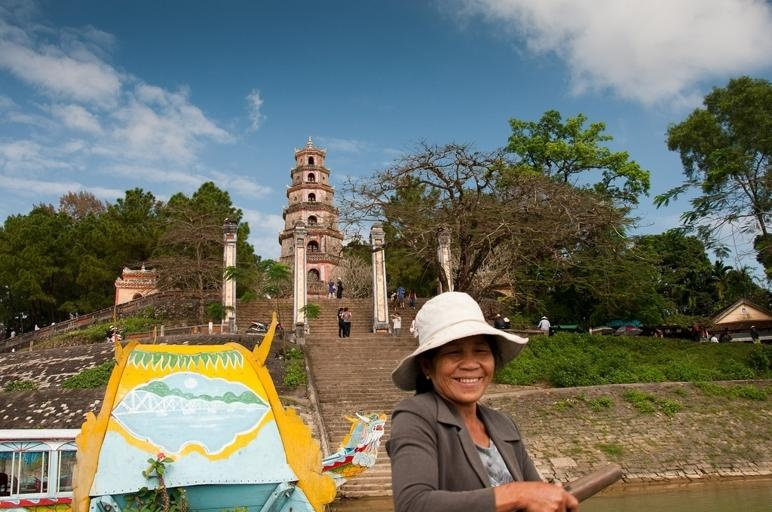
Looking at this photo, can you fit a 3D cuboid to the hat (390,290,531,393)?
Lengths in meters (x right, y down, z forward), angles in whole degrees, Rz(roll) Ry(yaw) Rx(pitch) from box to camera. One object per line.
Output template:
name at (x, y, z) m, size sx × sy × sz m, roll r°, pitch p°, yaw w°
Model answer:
hat at (0.697, 0.704, 4.839) m, size 1.041 × 0.524 × 1.019 m, roll 7°, pitch -32°, yaw -31°
